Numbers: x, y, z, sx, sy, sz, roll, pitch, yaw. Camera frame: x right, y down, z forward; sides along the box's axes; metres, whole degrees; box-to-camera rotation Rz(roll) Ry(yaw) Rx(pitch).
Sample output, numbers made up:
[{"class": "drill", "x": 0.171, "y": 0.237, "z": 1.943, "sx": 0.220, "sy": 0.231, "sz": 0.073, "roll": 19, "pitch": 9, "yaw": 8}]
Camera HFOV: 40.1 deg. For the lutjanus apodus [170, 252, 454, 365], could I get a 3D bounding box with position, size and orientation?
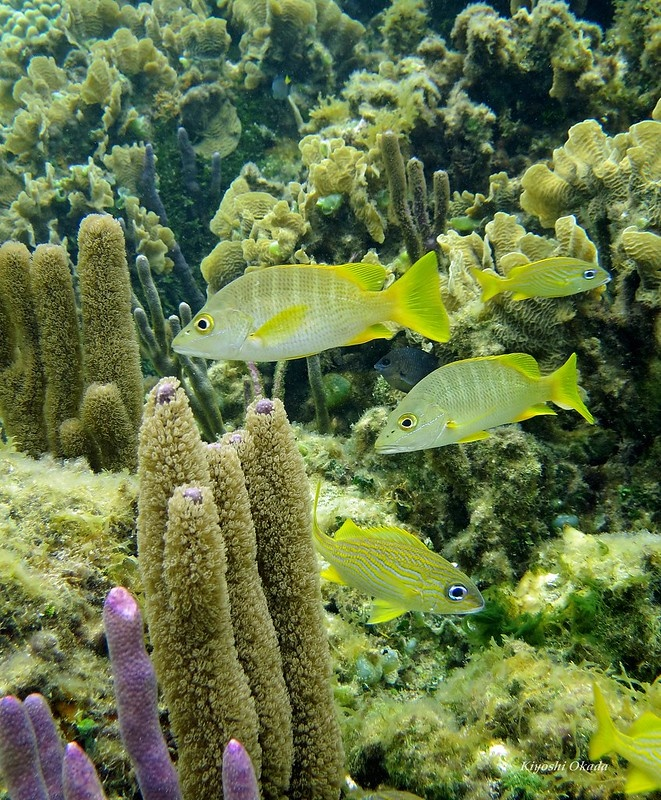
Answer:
[{"class": "lutjanus apodus", "x": -0.094, "y": -0.424, "z": 4.125, "sx": 1.255, "sy": 0.511, "sz": 0.482, "roll": -4, "pitch": 32, "yaw": -7}]
